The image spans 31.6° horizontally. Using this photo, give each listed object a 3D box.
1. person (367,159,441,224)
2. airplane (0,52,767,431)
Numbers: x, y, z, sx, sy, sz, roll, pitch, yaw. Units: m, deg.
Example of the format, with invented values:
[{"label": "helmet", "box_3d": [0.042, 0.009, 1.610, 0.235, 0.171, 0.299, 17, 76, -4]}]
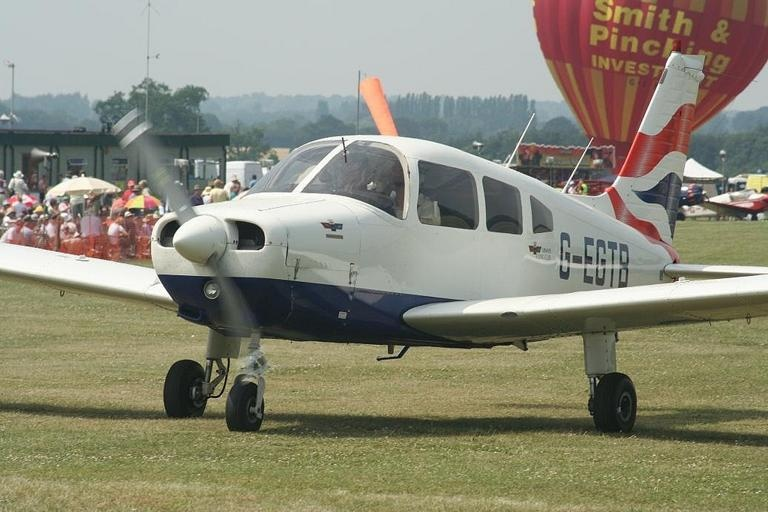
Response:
[{"label": "person", "box_3d": [0.368, -0.801, 18.159, 1.326, 0.302, 0.600, -4, 34, 0]}, {"label": "airplane", "box_3d": [0.314, 0.066, 18.862, 10.026, 4.074, 4.544, -1, 12, -13]}]
